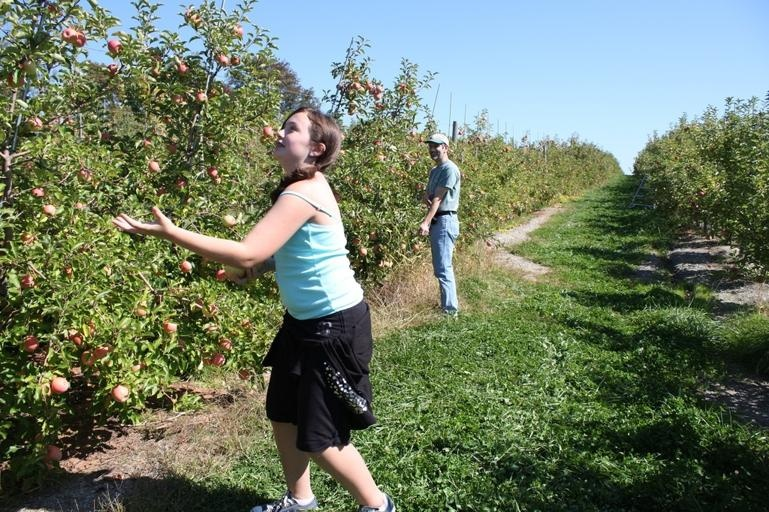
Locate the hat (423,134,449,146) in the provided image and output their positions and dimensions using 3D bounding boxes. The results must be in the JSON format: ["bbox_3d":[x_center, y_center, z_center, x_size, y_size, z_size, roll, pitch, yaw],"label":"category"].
[{"bbox_3d":[0.730,-1.631,7.049,0.282,0.161,0.531,4,13,3],"label":"hat"}]

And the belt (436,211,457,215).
[{"bbox_3d":[0.845,-0.585,6.900,0.265,0.077,0.059,2,13,-9],"label":"belt"}]
